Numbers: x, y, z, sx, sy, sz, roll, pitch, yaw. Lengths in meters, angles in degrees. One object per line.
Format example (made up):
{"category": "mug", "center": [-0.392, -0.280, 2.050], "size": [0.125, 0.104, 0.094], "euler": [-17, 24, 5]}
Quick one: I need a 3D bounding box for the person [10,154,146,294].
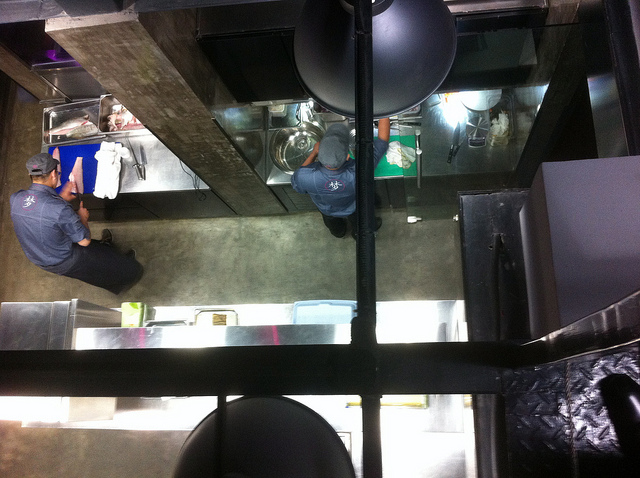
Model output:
{"category": "person", "center": [-2.046, -0.022, 4.458], "size": [0.580, 1.381, 0.826], "euler": [-22, 74, 1]}

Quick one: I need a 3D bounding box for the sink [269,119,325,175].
{"category": "sink", "center": [-0.171, -0.807, 4.180], "size": [0.330, 0.201, 0.482], "euler": [21, 112, 4]}

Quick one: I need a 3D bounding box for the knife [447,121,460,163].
{"category": "knife", "center": [0.903, -0.665, 3.599], "size": [0.068, 0.031, 0.296], "euler": [13, 88, 22]}

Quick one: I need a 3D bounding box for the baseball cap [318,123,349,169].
{"category": "baseball cap", "center": [0.100, -0.630, 3.530], "size": [0.194, 0.088, 0.305], "euler": [7, 87, 14]}

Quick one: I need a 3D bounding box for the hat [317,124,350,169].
{"category": "hat", "center": [0.098, -0.619, 3.511], "size": [0.194, 0.088, 0.307], "euler": [10, 88, 14]}
